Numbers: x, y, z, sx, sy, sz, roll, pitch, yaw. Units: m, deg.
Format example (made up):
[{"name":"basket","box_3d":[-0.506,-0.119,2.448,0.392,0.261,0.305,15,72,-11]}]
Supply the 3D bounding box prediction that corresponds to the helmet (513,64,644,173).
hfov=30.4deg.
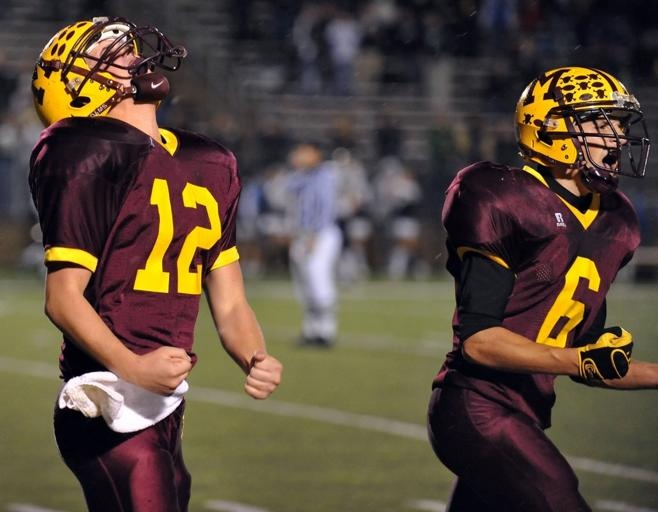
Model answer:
[{"name":"helmet","box_3d":[1.051,-0.572,5.268,0.576,0.396,0.440,2,-1,36]}]

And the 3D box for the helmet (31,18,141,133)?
[{"name":"helmet","box_3d":[-0.962,-0.723,4.891,0.385,0.415,0.348,18,-1,0]}]

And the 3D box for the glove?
[{"name":"glove","box_3d":[1.089,0.405,4.820,0.240,0.213,0.189,-3,7,-21]}]
